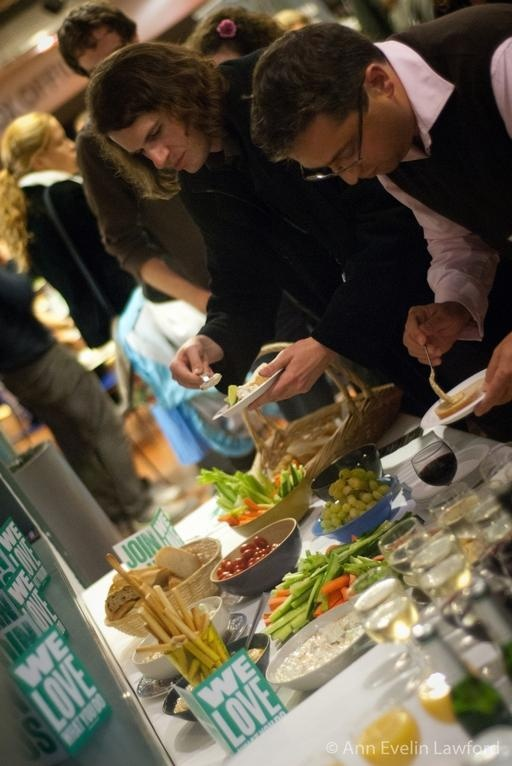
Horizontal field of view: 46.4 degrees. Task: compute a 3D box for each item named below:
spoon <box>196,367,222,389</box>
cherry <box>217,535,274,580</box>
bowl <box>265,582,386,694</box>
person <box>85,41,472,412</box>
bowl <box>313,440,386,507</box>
[{"bbox_3d":[-0.126,-0.010,1.759,0.057,0.023,0.057,-20,33,14],"label":"spoon"},{"bbox_3d":[-0.025,0.380,1.313,0.097,0.045,0.096,-32,-2,-3],"label":"cherry"},{"bbox_3d":[0.094,0.392,0.884,0.185,0.050,0.196,-36,-2,-1],"label":"bowl"},{"bbox_3d":[0.213,-0.453,1.894,0.840,1.111,1.073,-15,23,-21],"label":"person"},{"bbox_3d":[0.213,0.192,1.416,0.187,0.124,0.150,-9,19,-10],"label":"bowl"}]
